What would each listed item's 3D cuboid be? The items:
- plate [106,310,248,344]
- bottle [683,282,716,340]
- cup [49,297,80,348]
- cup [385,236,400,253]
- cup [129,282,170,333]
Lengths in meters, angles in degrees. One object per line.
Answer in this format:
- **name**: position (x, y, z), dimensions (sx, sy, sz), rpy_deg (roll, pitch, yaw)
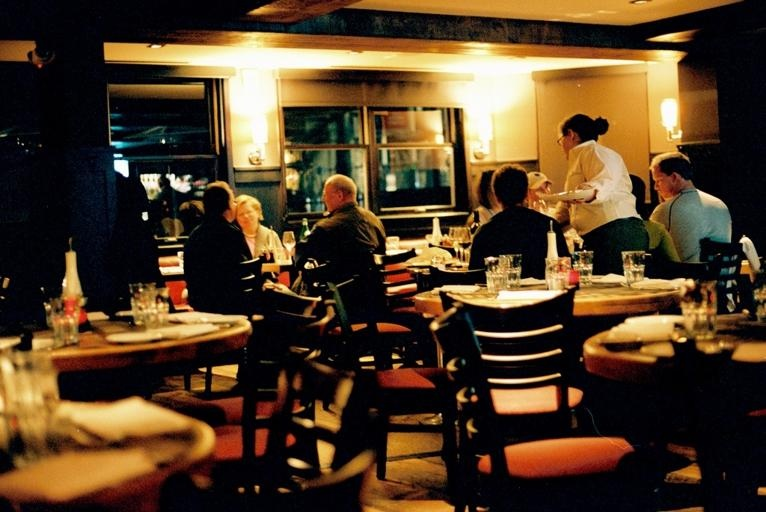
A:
- **plate**: position (-1.155, 0.403, 3.815), dimensions (0.543, 0.058, 0.718), rpy_deg (1, 10, 29)
- **bottle**: position (1.576, 0.253, 3.374), dimensions (0.155, 0.251, 0.283), rpy_deg (-1, 9, 23)
- **cup**: position (-1.750, 0.346, 3.721), dimensions (0.167, 0.207, 0.421), rpy_deg (-8, 10, -25)
- **cup**: position (0.107, -0.100, 7.030), dimensions (0.158, 0.162, 0.147), rpy_deg (-1, 1, 0)
- **cup**: position (-1.334, 0.301, 3.926), dimensions (0.262, 0.268, 0.238), rpy_deg (0, -3, -17)
